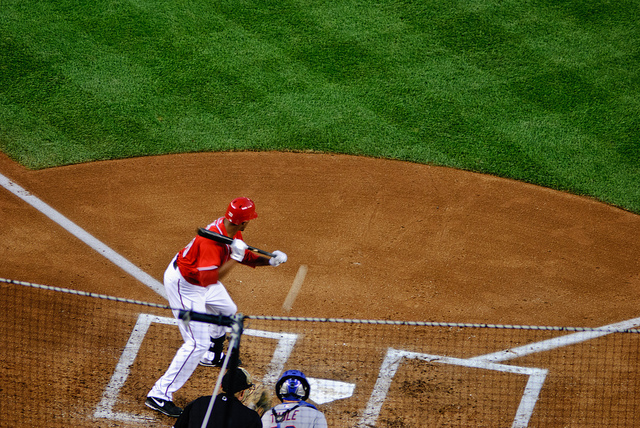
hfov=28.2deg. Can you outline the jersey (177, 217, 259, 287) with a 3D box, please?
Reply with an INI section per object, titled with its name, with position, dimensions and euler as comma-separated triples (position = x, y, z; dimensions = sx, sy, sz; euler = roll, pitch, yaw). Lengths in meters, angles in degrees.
[jersey]
position = -2.094, 0.828, 24.177
dimensions = 1.475, 1.114, 1.488
euler = 18, 16, 41
